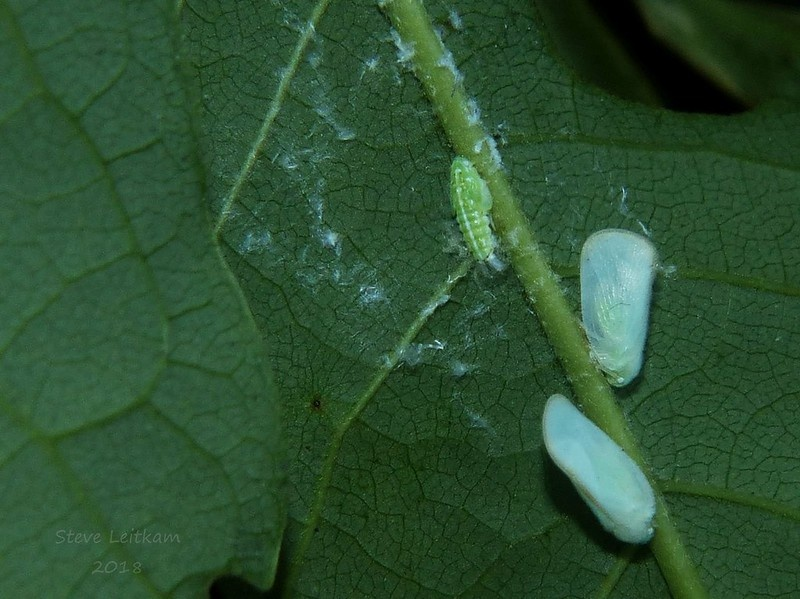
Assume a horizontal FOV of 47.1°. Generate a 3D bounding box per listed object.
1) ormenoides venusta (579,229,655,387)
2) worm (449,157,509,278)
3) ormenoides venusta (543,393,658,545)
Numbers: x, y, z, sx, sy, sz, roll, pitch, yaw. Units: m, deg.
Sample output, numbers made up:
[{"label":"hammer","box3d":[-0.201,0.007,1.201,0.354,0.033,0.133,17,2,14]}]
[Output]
[{"label":"ormenoides venusta","box3d":[1.088,0.051,4.706,0.386,0.142,0.768,8,82,4]},{"label":"worm","box3d":[0.414,-0.397,4.747,0.179,0.137,0.624,-12,99,27]},{"label":"ormenoides venusta","box3d":[1.013,0.856,4.660,0.334,0.122,0.843,-38,81,-3]}]
